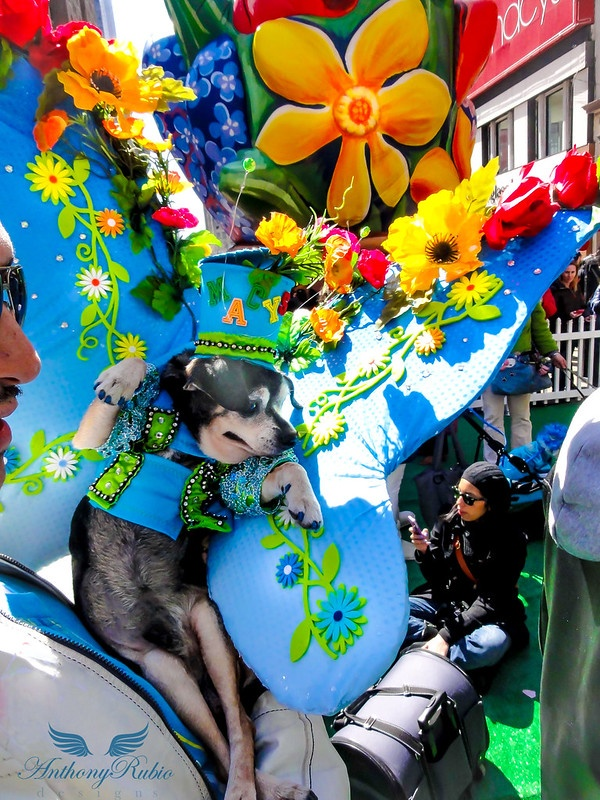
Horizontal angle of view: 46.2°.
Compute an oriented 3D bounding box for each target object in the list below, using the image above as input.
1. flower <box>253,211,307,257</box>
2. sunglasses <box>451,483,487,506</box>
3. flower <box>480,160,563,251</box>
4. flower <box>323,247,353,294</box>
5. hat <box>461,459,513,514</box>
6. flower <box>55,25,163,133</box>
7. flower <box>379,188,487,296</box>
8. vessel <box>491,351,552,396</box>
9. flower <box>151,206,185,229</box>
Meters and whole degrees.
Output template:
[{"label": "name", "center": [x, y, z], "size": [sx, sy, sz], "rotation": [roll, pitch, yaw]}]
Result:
[{"label": "flower", "center": [-0.047, -0.350, 1.573], "size": [0.110, 0.099, 0.049], "rotation": [34, -25, -3]}, {"label": "sunglasses", "center": [0.672, 0.380, 2.777], "size": [0.103, 0.031, 0.094], "rotation": [19, 14, -34]}, {"label": "flower", "center": [0.550, -0.426, 1.634], "size": [0.143, 0.046, 0.135], "rotation": [-17, -31, -2]}, {"label": "flower", "center": [0.075, -0.306, 1.692], "size": [0.082, 0.085, 0.053], "rotation": [-5, 19, -38]}, {"label": "hat", "center": [0.739, 0.350, 2.799], "size": [0.162, 0.176, 0.203], "rotation": [17, -35, -37]}, {"label": "flower", "center": [-0.468, -0.770, 1.621], "size": [0.189, 0.076, 0.185], "rotation": [12, 3, -35]}, {"label": "flower", "center": [0.315, -0.365, 1.656], "size": [0.142, 0.232, 0.168], "rotation": [1, 4, -34]}, {"label": "vessel", "center": [1.166, -0.136, 3.692], "size": [0.248, 0.202, 0.130], "rotation": [-8, -9, -10]}, {"label": "flower", "center": [-0.324, -0.456, 1.772], "size": [0.064, 0.022, 0.065], "rotation": [35, 47, 27]}]
